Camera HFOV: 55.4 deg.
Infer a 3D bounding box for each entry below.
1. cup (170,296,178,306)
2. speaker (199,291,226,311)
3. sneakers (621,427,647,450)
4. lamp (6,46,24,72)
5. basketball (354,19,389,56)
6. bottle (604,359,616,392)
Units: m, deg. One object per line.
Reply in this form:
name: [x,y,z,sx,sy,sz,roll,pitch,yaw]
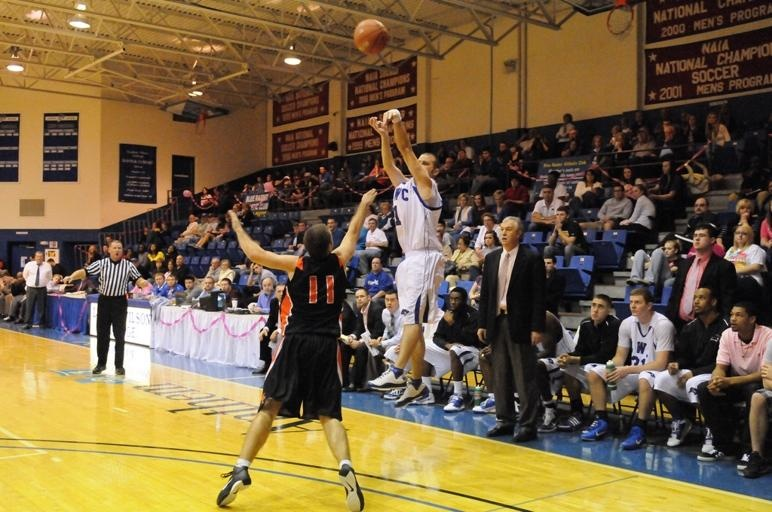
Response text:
cup: [-5.006,1.057,17.289,0.218,0.211,0.219,2,-2,0]
speaker: [-3.701,0.986,15.716,0.455,0.315,0.441,1,5,31]
sneakers: [3.439,2.534,10.203,0.409,0.273,0.200,-1,7,-6]
lamp: [-12.915,-6.912,25.526,0.408,0.912,2.371,-3,8,-26]
basketball: [-0.226,-3.228,10.704,0.449,0.504,0.406,0,7,0]
bottle: [3.206,1.720,10.507,0.156,0.452,0.339,2,7,16]
